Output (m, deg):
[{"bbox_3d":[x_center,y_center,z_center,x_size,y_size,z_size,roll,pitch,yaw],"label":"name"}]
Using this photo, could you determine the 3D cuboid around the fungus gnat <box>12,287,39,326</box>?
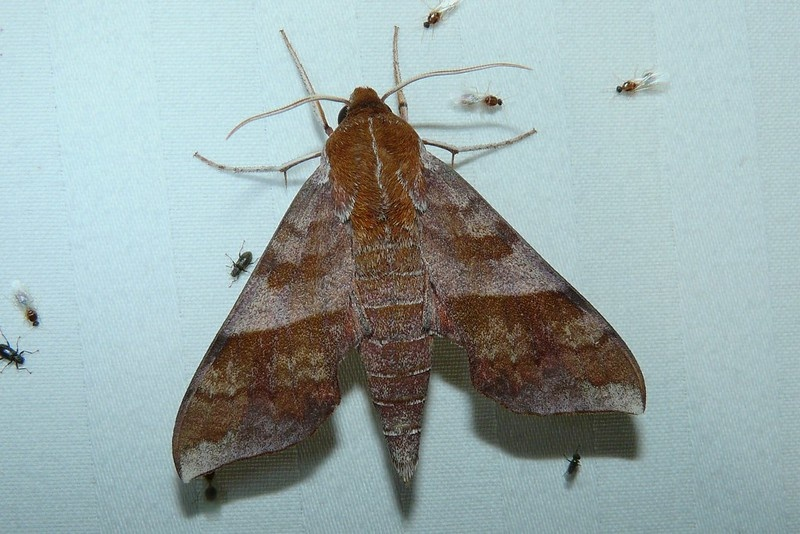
[{"bbox_3d":[-1.933,0.212,4.907,0.082,0.246,0.049,-24,8,-4],"label":"fungus gnat"}]

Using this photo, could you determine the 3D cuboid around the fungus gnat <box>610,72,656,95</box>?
[{"bbox_3d":[1.240,-0.968,5.014,0.218,0.107,0.089,-20,11,-19],"label":"fungus gnat"}]
